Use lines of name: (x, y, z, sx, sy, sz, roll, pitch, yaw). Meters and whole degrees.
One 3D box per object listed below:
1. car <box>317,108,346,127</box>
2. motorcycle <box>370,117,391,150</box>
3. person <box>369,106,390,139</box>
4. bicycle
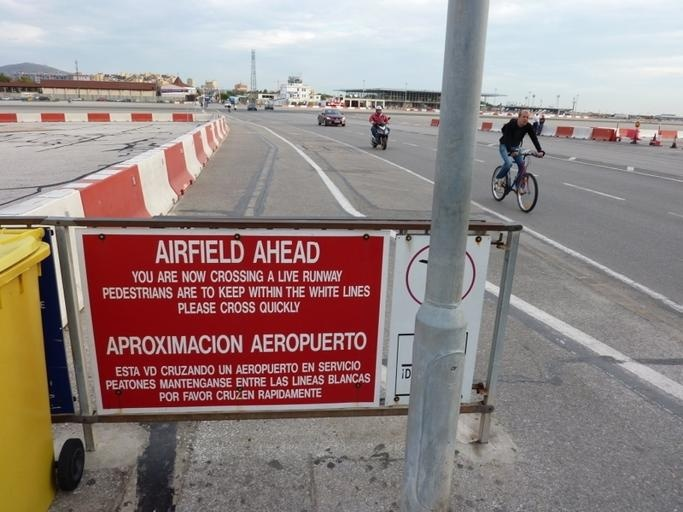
car: (-0.911, -12.037, 45.046, 2.121, 1.403, 3.087, -1, 19, -5)
motorcycle: (1.888, -5.722, 24.416, 0.632, 0.970, 1.616, -4, 23, -9)
person: (1.775, -6.286, 24.200, 0.768, 1.429, 1.893, 1, 19, 3)
bicycle: (4.037, -1.840, 12.117, 0.780, 1.324, 1.969, 0, 16, -12)
